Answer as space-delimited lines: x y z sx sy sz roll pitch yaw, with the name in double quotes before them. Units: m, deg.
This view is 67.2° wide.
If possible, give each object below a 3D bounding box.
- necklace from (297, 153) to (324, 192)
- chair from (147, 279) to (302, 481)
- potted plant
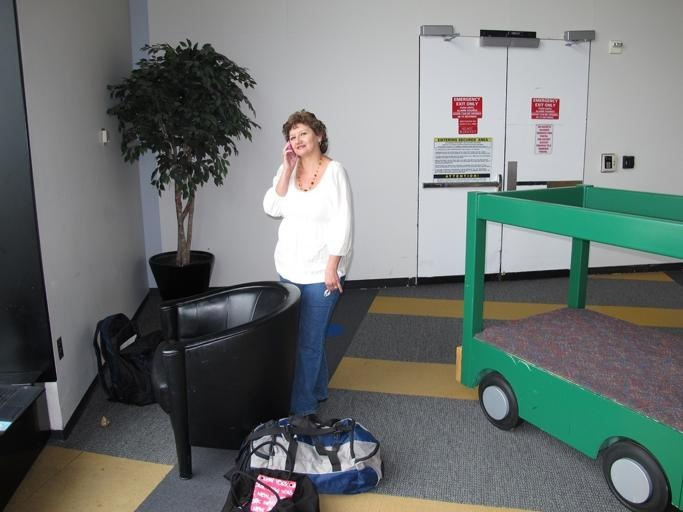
"necklace" -0.194 -0.517 3.241 0.168 0.207 0.092 -2 12 -6
"chair" -0.674 0.608 3.354 0.920 1.199 1.041 2 14 -11
"potted plant" -1.390 -0.825 4.731 1.243 2.231 1.044 -2 12 -9
